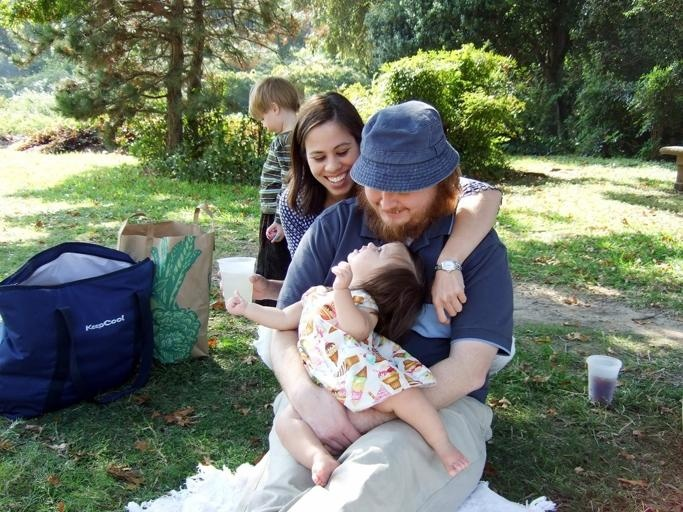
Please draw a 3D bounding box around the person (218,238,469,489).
[{"bbox_3d":[0.067,0.554,3.204,1.112,1.160,0.770,0,14,-9],"label":"person"}]

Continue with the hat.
[{"bbox_3d":[0.343,-0.567,3.200,0.495,0.279,0.527,-5,26,3],"label":"hat"}]

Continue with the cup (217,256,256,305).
[{"bbox_3d":[-0.859,0.206,4.841,0.402,0.462,0.409,1,-3,0],"label":"cup"}]

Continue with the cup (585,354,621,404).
[{"bbox_3d":[1.968,0.929,4.450,0.217,0.337,0.225,2,14,-1],"label":"cup"}]

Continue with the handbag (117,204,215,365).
[{"bbox_3d":[-1.486,0.301,5.475,1.127,1.681,1.217,2,6,-19],"label":"handbag"}]
